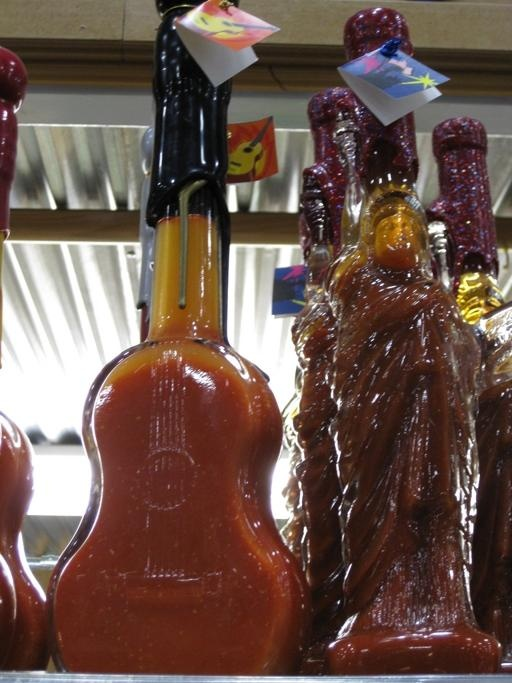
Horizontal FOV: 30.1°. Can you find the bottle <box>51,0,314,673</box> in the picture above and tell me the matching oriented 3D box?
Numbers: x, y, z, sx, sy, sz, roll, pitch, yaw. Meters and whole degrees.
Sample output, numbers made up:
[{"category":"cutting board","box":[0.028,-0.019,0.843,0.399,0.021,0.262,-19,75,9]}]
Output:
[{"category":"bottle","box":[-0.043,-0.026,0.458,0.112,0.334,0.208,-4,3,-1]}]

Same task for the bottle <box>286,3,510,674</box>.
[{"category":"bottle","box":[0.069,0.031,0.444,0.072,0.214,0.125,-3,4,10]}]
